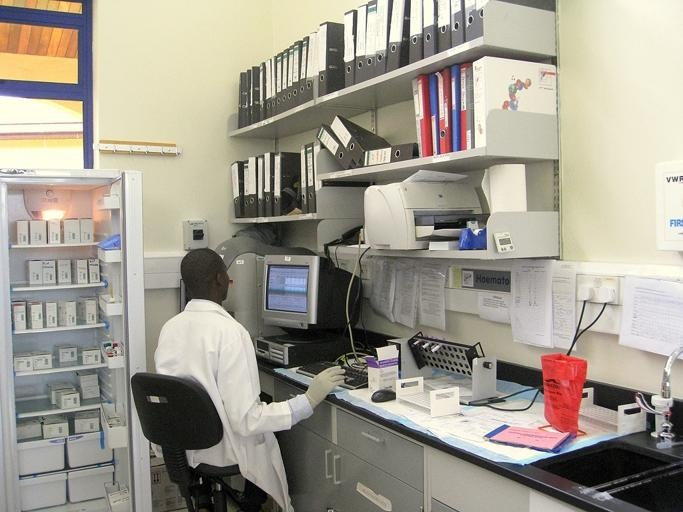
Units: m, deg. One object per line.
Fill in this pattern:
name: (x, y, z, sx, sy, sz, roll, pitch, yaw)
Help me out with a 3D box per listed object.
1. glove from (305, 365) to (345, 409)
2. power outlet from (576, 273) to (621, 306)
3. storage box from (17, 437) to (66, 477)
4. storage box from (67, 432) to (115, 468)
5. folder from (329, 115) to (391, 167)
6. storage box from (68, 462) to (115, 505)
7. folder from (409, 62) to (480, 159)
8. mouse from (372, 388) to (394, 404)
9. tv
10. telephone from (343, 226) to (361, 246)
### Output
glove: (-0.038, 0.603, 2.572, 0.131, 0.244, 0.117, 3, 16, 16)
power outlet: (1.023, 0.136, 2.161, 0.042, 0.125, 0.181, -9, 12, -35)
storage box: (-1.795, 1.212, 3.239, 0.214, 0.134, 0.213, 2, -7, -34)
storage box: (-1.556, 1.203, 3.343, 0.276, 0.196, 0.275, 2, -6, -36)
folder: (0.095, -0.649, 2.867, 0.292, 0.076, 0.294, 14, 28, -38)
storage box: (-1.562, 1.415, 3.359, 0.237, 0.150, 0.235, 1, -6, -34)
folder: (0.446, -0.621, 2.314, 0.107, 0.375, 0.371, -7, 11, -27)
mouse: (0.188, 0.616, 2.396, 0.112, 0.044, 0.068, -9, 12, -35)
tv: (-0.187, 0.217, 3.262, 0.483, 0.402, 0.479, 4, -2, -44)
telephone: (0.057, -0.116, 3.144, 0.111, 0.040, 0.083, -24, 7, 15)
